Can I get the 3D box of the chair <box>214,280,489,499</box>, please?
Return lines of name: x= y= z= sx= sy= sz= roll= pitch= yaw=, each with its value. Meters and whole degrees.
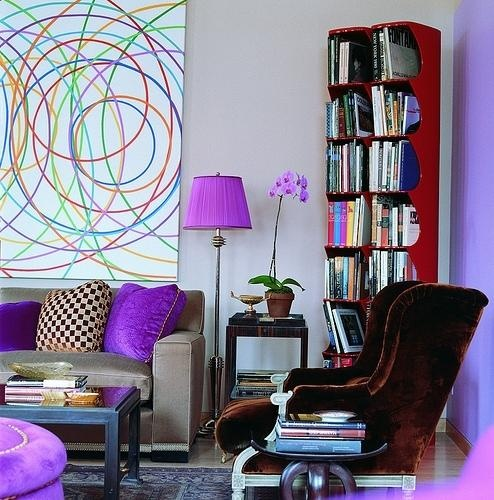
chair: x=0.282 y=0.386 z=2.009 sx=0.867 sy=0.772 sz=0.669 roll=1 pitch=-7 yaw=5

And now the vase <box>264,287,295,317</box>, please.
vase: x=0.167 y=0.276 z=3.016 sx=0.134 sy=0.110 sz=0.140 roll=0 pitch=-7 yaw=2

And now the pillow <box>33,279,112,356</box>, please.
pillow: x=-0.899 y=0.361 z=2.927 sx=0.304 sy=0.273 sz=0.142 roll=-3 pitch=-10 yaw=20

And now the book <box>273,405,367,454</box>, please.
book: x=0.200 y=0.506 z=1.569 sx=0.240 sy=0.096 sz=0.087 roll=-1 pitch=-2 yaw=0

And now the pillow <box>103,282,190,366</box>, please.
pillow: x=-0.478 y=0.379 z=2.867 sx=0.368 sy=0.384 sz=0.115 roll=9 pitch=-19 yaw=45
